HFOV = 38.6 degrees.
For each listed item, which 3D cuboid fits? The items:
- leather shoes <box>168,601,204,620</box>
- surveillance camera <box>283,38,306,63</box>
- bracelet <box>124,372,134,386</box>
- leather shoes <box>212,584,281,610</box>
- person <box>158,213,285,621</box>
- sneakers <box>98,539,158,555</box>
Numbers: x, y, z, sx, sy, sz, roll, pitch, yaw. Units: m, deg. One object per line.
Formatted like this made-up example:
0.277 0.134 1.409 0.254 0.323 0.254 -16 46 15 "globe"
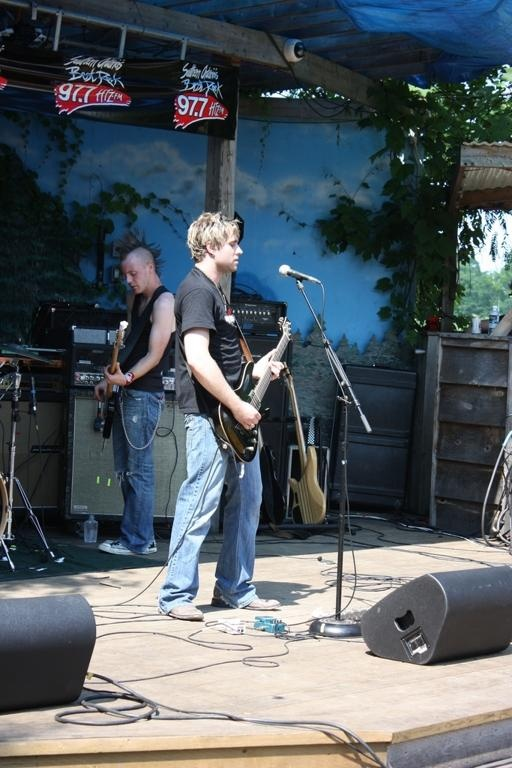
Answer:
-0.271 0.888 2.879 0.129 0.043 0.055 -4 -7 35 "leather shoes"
0.280 -2.487 5.417 0.141 0.153 0.156 3 3 15 "surveillance camera"
-0.752 -0.041 4.336 0.054 0.078 0.079 3 -17 -2 "bracelet"
-0.032 0.912 3.175 0.349 0.123 0.100 0 -6 3 "leather shoes"
-0.163 0.117 3.049 0.492 1.692 0.418 0 5 -37 "person"
-0.782 0.991 4.444 0.341 0.110 0.119 10 -9 -17 "sneakers"
